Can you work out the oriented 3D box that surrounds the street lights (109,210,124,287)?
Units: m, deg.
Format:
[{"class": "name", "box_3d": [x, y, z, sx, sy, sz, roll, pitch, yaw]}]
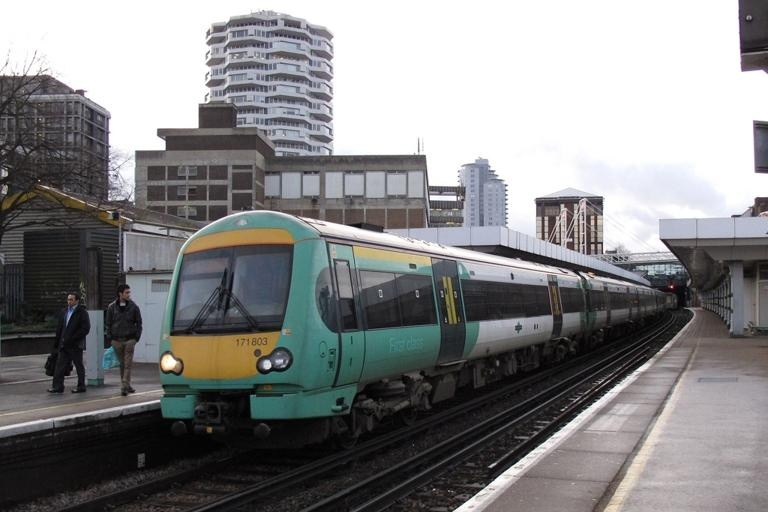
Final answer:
[{"class": "street lights", "box_3d": [-9.219, -0.479, 22.822, 0.384, 2.195, 0.376, 1, 7, 8]}]

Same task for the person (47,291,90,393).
[{"class": "person", "box_3d": [-6.362, 1.751, 13.283, 0.713, 1.953, 0.756, 1, 1, -26]}]

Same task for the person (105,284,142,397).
[{"class": "person", "box_3d": [-5.210, 1.653, 13.114, 0.640, 2.149, 0.939, 1, 1, -23]}]
